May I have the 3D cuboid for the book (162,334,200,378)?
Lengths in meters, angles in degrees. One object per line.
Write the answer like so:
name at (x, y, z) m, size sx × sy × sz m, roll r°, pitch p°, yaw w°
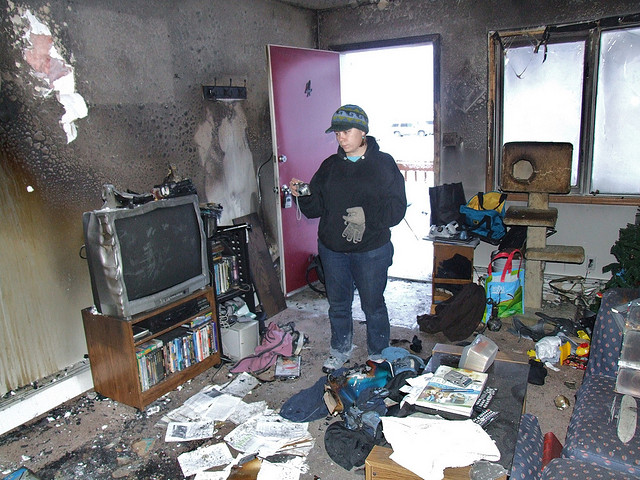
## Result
book at (-1.120, 0.866, 3.765) m, size 0.305 × 0.296 × 0.187 m, roll 0°, pitch 21°, yaw 17°

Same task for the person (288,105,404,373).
person at (0.229, 0.034, 3.581) m, size 0.784 × 2.017 × 0.406 m, roll 1°, pitch 14°, yaw 10°

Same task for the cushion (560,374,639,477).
cushion at (1.440, 1.005, 2.555) m, size 0.395 × 0.165 × 0.410 m, roll 11°, pitch 50°, yaw 25°

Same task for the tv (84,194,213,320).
tv at (-1.313, 0.089, 3.561) m, size 0.512 × 0.806 × 0.869 m, roll 4°, pitch 15°, yaw 26°

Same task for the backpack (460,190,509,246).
backpack at (1.603, -0.238, 4.706) m, size 0.405 × 0.431 × 0.299 m, roll 16°, pitch 30°, yaw 39°

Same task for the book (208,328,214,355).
book at (-0.891, 0.826, 3.868) m, size 0.029 × 0.228 × 0.014 m, roll -12°, pitch 17°, yaw -36°

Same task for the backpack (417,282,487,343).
backpack at (1.211, 0.656, 4.195) m, size 0.551 × 0.204 × 0.454 m, roll -31°, pitch 53°, yaw -9°

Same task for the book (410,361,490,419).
book at (0.755, 0.873, 2.732) m, size 0.319 × 0.043 × 0.436 m, roll 0°, pitch 15°, yaw 34°
